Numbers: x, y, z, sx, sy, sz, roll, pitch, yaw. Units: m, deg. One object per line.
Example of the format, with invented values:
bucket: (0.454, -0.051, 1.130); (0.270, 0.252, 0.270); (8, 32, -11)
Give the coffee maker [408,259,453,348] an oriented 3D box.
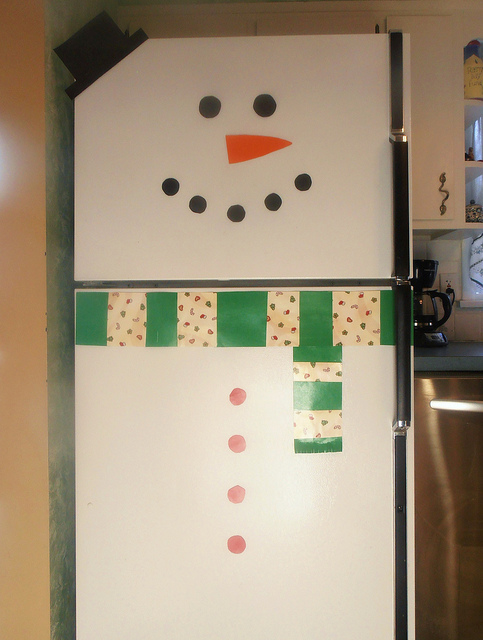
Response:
coffee maker: (0.555, -0.053, 1.988); (0.113, 0.275, 0.418); (1, -2, 17)
